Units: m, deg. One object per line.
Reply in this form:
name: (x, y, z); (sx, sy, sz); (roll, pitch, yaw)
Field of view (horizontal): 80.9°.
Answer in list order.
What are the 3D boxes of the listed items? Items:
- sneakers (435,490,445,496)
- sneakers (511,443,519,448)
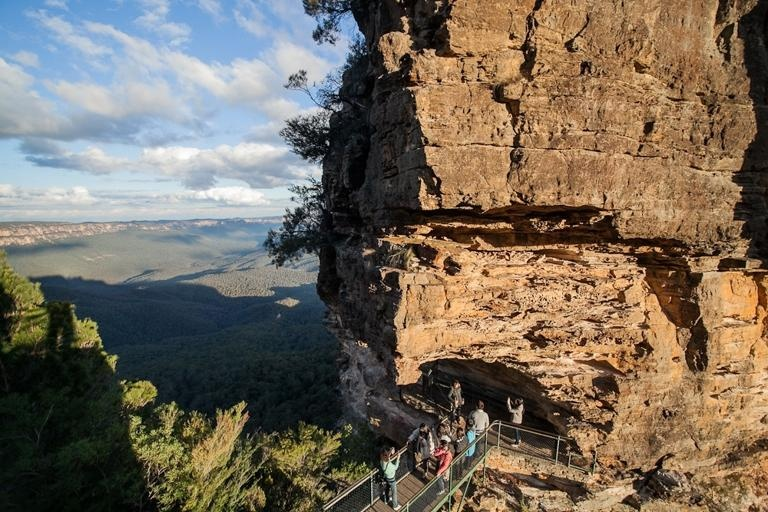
sneakers: (2.322, 10.104, 18.956); (0.523, 0.217, 0.175); (2, -22, -25)
sneakers: (6.659, 9.766, 22.817); (0.448, 0.186, 0.148); (-8, -36, -24)
